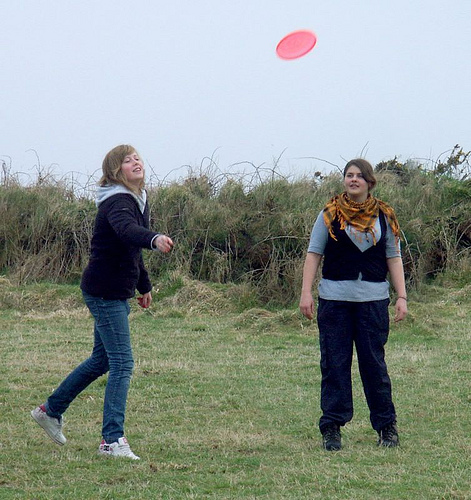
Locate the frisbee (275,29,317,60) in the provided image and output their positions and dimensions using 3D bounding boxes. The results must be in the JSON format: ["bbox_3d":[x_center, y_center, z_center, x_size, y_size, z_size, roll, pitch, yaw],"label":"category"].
[{"bbox_3d":[0.805,-2.708,12.782,0.508,0.086,0.548,-19,-21,26],"label":"frisbee"}]

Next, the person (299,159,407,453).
[{"bbox_3d":[0.896,0.404,7.492,0.819,2.150,0.644,0,5,1],"label":"person"}]

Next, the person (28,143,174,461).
[{"bbox_3d":[-0.889,0.352,7.360,1.134,2.246,0.788,3,6,29],"label":"person"}]
